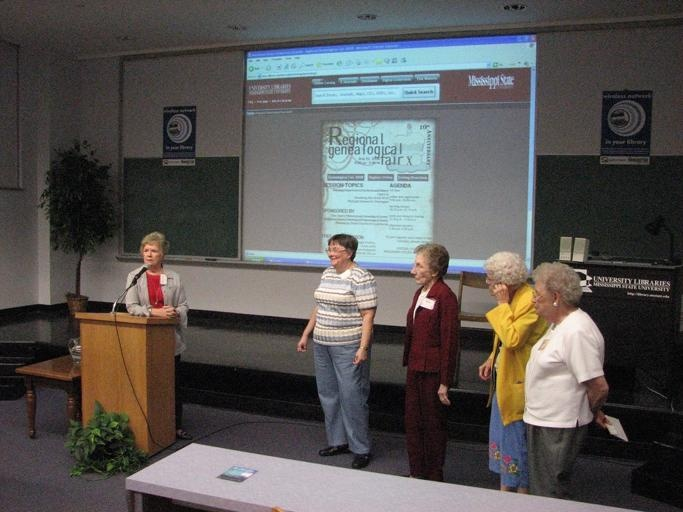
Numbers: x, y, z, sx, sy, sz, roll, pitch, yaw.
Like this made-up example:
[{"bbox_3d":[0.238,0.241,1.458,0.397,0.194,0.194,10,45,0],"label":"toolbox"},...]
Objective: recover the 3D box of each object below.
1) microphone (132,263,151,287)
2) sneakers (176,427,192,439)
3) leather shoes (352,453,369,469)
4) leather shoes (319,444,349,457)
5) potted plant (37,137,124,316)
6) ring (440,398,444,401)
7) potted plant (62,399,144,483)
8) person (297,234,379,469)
[{"bbox_3d":[-1.703,0.164,4.622,0.052,0.058,0.220,23,53,36],"label":"microphone"},{"bbox_3d":[-1.369,1.523,4.661,0.056,0.072,0.169,2,1,-28],"label":"sneakers"},{"bbox_3d":[0.151,1.617,4.246,0.063,0.077,0.161,-3,-11,25],"label":"leather shoes"},{"bbox_3d":[-0.047,1.598,4.477,0.266,0.125,0.096,4,-3,-13],"label":"leather shoes"},{"bbox_3d":[-3.786,-0.518,7.860,1.011,2.263,0.693,-5,8,-30],"label":"potted plant"},{"bbox_3d":[0.688,0.984,3.707,0.005,0.021,0.021,2,-6,-30],"label":"ring"},{"bbox_3d":[-1.882,1.399,4.152,0.331,0.238,0.349,-7,17,-34],"label":"potted plant"},{"bbox_3d":[0.034,0.737,4.265,0.487,1.810,0.275,5,9,38],"label":"person"}]
